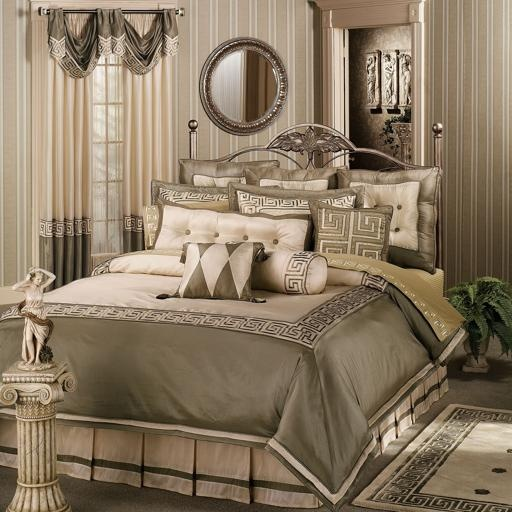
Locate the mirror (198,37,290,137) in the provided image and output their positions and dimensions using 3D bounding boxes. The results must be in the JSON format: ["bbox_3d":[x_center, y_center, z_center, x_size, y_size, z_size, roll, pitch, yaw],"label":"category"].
[{"bbox_3d":[-0.138,-1.726,5.184,1.193,1.412,0.064,0,2,1],"label":"mirror"}]
